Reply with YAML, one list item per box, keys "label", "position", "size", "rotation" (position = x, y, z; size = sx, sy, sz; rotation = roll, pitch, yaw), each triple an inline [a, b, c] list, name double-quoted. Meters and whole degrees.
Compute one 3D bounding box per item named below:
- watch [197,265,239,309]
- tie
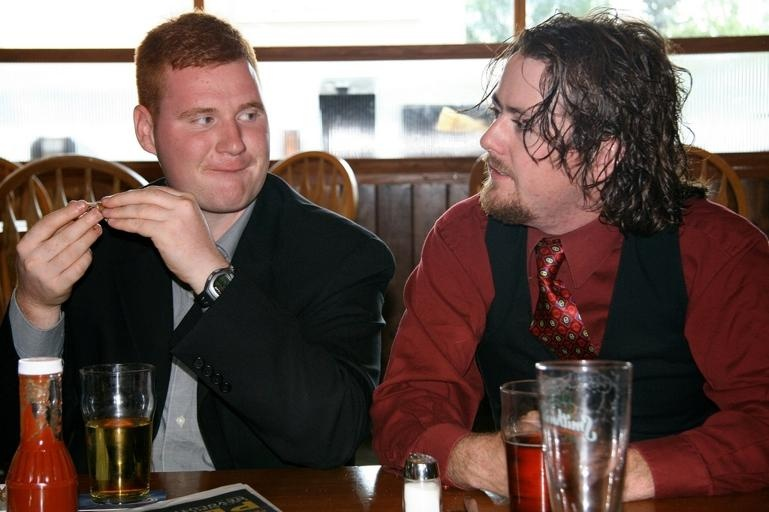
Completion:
- label: "watch"
  position: [-0.413, 0.070, 1.812]
  size: [0.101, 0.084, 0.033]
  rotation: [-31, -15, -2]
- label: "tie"
  position: [0.472, 0.111, 1.978]
  size: [0.167, 0.273, 0.069]
  rotation: [-3, 1, 14]
